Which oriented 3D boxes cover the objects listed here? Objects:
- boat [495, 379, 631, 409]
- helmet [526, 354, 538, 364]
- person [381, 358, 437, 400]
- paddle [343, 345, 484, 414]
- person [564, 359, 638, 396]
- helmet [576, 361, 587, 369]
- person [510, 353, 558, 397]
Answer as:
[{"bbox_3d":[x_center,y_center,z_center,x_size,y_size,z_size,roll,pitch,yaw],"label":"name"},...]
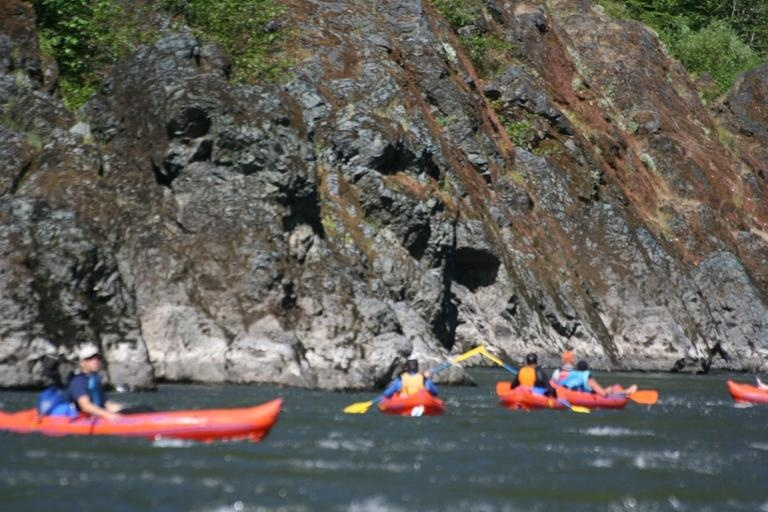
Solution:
[{"bbox_3d":[5.614,4.481,41.847,4.197,0.690,4.048,-3,0,3],"label":"boat"},{"bbox_3d":[4.694,3.295,42.200,0.299,0.282,0.289,-3,-4,15],"label":"helmet"},{"bbox_3d":[0.780,3.854,41.408,1.117,1.513,2.613,-2,26,3],"label":"person"},{"bbox_3d":[0.737,4.067,42.879,3.159,0.548,0.358,-29,-6,-20],"label":"paddle"},{"bbox_3d":[6.858,3.946,42.856,2.692,1.185,0.995,2,-8,8],"label":"person"},{"bbox_3d":[6.369,3.566,42.767,0.257,0.269,0.270,3,-15,0],"label":"helmet"},{"bbox_3d":[4.762,3.778,41.910,1.420,1.253,0.703,7,5,8],"label":"person"}]
